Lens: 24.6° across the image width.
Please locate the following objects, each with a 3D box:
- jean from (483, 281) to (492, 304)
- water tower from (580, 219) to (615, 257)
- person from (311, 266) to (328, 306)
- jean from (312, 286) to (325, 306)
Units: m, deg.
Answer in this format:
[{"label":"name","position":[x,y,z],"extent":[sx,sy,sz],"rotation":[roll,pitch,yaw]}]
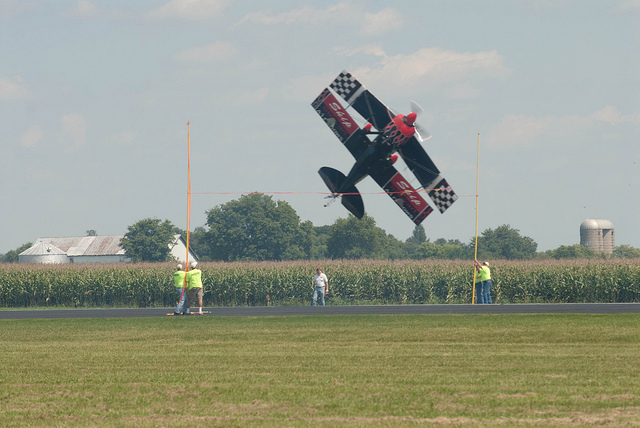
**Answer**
[{"label":"jean","position":[9.265,4.322,80.846],"extent":[0.410,1.236,1.106],"rotation":[-2,-9,6]},{"label":"water tower","position":[26.433,2.125,139.089],"extent":[2.919,3.480,3.468],"rotation":[-2,-9,10]},{"label":"person","position":[0.089,4.027,81.214],"extent":[0.779,2.171,1.527],"rotation":[-1,-9,-1]},{"label":"jean","position":[0.010,4.564,81.002],"extent":[0.666,1.055,1.384],"rotation":[-1,-8,0]}]
